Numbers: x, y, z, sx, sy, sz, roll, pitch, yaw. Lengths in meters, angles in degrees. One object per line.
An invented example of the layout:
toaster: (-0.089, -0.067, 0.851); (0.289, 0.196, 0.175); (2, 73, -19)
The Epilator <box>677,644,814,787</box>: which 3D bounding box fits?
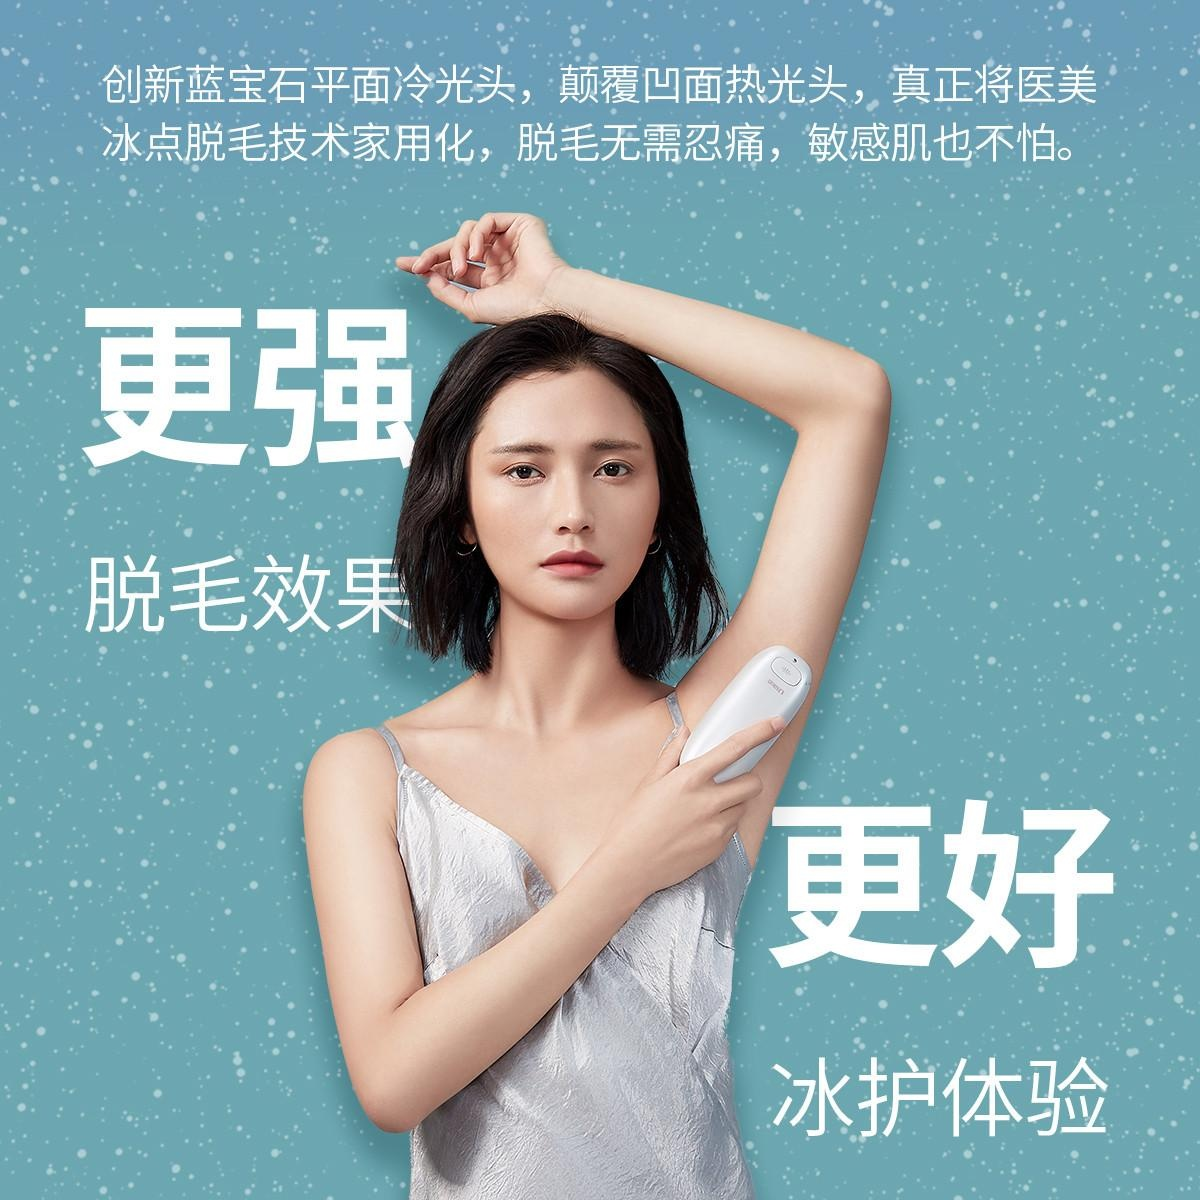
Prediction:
Epilator: (0.202, 0.144, 1.556); (0.205, 0.052, 0.101); (-42, 59, 2)
